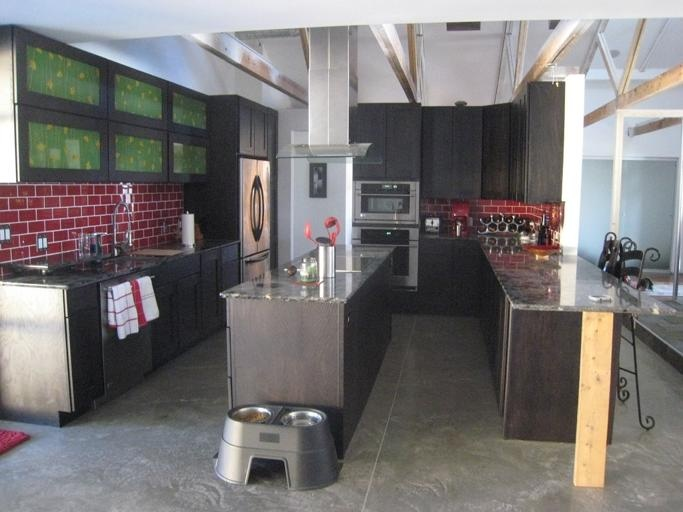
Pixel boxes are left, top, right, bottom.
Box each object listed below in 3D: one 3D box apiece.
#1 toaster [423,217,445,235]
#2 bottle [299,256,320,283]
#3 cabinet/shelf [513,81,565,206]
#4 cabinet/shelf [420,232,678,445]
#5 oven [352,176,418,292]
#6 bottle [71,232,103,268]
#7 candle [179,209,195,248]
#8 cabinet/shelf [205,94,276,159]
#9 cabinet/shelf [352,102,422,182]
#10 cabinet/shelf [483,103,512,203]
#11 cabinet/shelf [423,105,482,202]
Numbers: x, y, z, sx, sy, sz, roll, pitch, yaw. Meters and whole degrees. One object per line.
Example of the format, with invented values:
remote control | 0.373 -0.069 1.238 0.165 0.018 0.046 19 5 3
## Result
toaster | 1.326 -0.435 7.495 0.245 0.199 0.252 1 11 11
bottle | -0.272 0.119 4.168 0.143 0.204 0.207 -1 3 0
cabinet/shelf | 2.226 -1.250 5.722 0.354 1.254 1.256 0 13 9
cabinet/shelf | 1.833 0.554 5.257 1.604 1.170 3.641 0 12 0
oven | 0.591 -0.205 7.341 0.993 1.618 0.834 3 -17 -5
bottle | -2.379 -0.061 4.832 0.422 0.453 0.242 4 4 41
candle | -1.850 -0.321 6.093 0.140 0.380 0.159 -2 -1 -15
cabinet/shelf | -1.318 -1.676 7.084 0.359 0.739 1.431 2 8 15
cabinet/shelf | 0.630 -1.548 6.900 1.081 1.108 0.513 1 6 10
cabinet/shelf | 2.066 -1.389 6.902 0.132 1.239 0.472 -8 14 -32
cabinet/shelf | 1.574 -1.460 8.062 0.989 2.010 1.374 0 7 8
